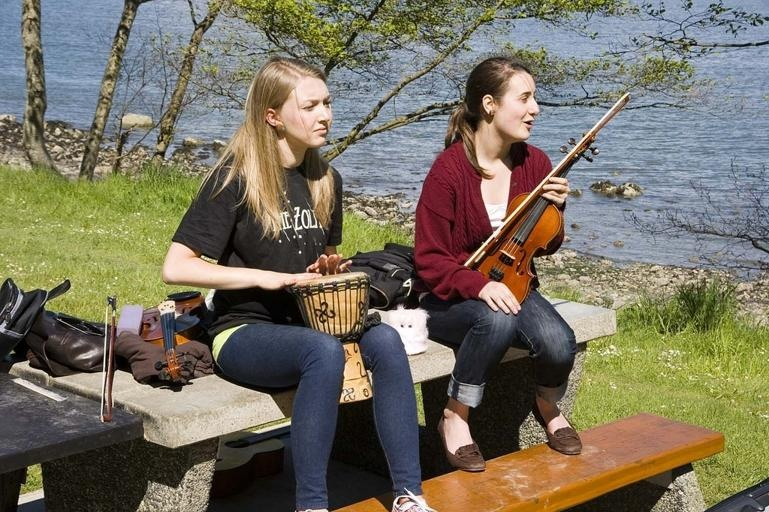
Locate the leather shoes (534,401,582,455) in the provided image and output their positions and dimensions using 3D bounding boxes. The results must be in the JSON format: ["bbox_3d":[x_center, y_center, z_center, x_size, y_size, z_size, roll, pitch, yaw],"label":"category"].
[{"bbox_3d":[0.984,0.978,4.472,0.108,0.154,0.385,38,18,-55],"label":"leather shoes"}]

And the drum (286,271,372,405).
[{"bbox_3d":[-0.240,0.394,4.017,0.306,0.607,0.483,-4,22,-45],"label":"drum"}]

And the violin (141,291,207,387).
[{"bbox_3d":[-1.159,0.435,4.307,0.277,0.113,0.664,-9,14,2],"label":"violin"}]

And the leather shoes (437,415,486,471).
[{"bbox_3d":[0.436,1.057,4.365,0.144,0.169,0.406,-9,26,-21],"label":"leather shoes"}]

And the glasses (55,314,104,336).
[{"bbox_3d":[-1.707,0.404,4.298,0.223,0.051,0.127,18,-1,-24],"label":"glasses"}]
